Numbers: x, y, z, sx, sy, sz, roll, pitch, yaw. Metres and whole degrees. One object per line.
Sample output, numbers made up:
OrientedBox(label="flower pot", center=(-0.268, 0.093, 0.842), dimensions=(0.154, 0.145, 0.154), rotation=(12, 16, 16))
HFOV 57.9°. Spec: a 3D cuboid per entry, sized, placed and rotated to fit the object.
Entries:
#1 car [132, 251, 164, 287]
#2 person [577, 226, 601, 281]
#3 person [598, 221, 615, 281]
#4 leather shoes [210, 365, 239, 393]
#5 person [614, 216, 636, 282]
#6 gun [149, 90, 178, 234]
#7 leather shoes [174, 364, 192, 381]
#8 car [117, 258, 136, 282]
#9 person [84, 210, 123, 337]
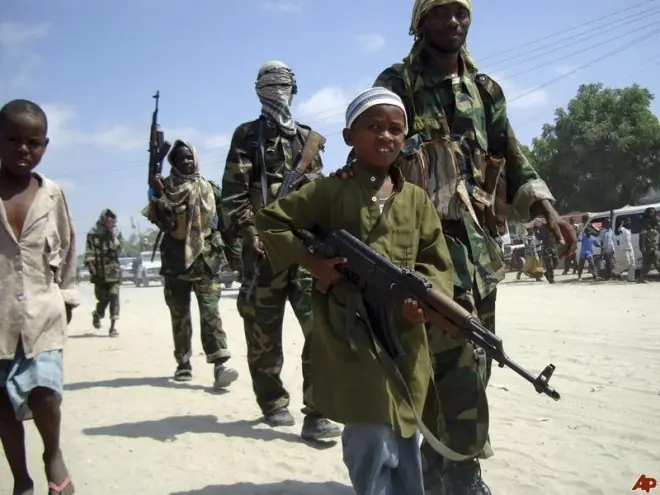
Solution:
OrientedBox(label="car", center=(-8.667, 1.033, 28.210), dimensions=(1.638, 1.578, 2.748), rotation=(1, -7, -22))
OrientedBox(label="person", center=(8.535, 0.136, 19.853), dimensions=(0.602, 1.429, 2.174), rotation=(-2, -2, 23))
OrientedBox(label="person", center=(8.488, 0.050, 18.291), dimensions=(0.423, 1.468, 0.993), rotation=(-2, -1, 24))
OrientedBox(label="leather shoes", center=(-1.229, 1.498, 6.917), dimensions=(0.180, 0.179, 0.388), rotation=(12, -42, -28))
OrientedBox(label="person", center=(8.840, 0.042, 17.943), dimensions=(0.618, 1.577, 1.248), rotation=(-2, -1, 26))
OrientedBox(label="gun", center=(-1.877, -0.711, 6.623), dimensions=(0.186, 1.951, 0.725), rotation=(0, 9, -23))
OrientedBox(label="leather shoes", center=(-1.804, 1.538, 7.312), dimensions=(0.221, 0.235, 0.147), rotation=(-2, -14, 6))
OrientedBox(label="car", center=(-10.860, 1.123, 31.904), dimensions=(1.318, 1.073, 2.110), rotation=(-2, 11, -16))
OrientedBox(label="person", center=(-4.439, 0.444, 11.708), dimensions=(0.663, 2.439, 1.289), rotation=(-1, -1, -20))
